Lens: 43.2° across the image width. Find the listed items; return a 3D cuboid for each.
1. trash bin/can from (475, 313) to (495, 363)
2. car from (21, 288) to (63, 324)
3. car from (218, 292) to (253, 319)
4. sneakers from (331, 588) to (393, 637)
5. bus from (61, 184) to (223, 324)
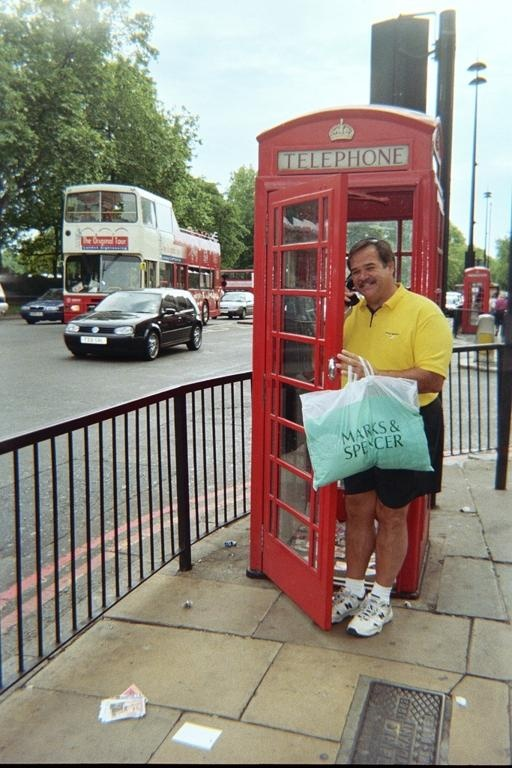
[{"bbox_3d":[5.802,-1.136,16.197,0.619,1.214,0.644,1,0,29],"label":"trash bin/can"},{"bbox_3d":[-8.230,-3.109,26.154,1.206,1.090,2.990,0,6,9],"label":"car"},{"bbox_3d":[-1.057,-4.229,34.801,1.699,1.414,1.666,0,7,-8],"label":"car"},{"bbox_3d":[0.461,0.986,2.818,0.156,0.073,0.210,3,1,38],"label":"sneakers"},{"bbox_3d":[-3.275,-4.154,22.625,2.499,4.107,9.198,3,7,11],"label":"bus"}]
